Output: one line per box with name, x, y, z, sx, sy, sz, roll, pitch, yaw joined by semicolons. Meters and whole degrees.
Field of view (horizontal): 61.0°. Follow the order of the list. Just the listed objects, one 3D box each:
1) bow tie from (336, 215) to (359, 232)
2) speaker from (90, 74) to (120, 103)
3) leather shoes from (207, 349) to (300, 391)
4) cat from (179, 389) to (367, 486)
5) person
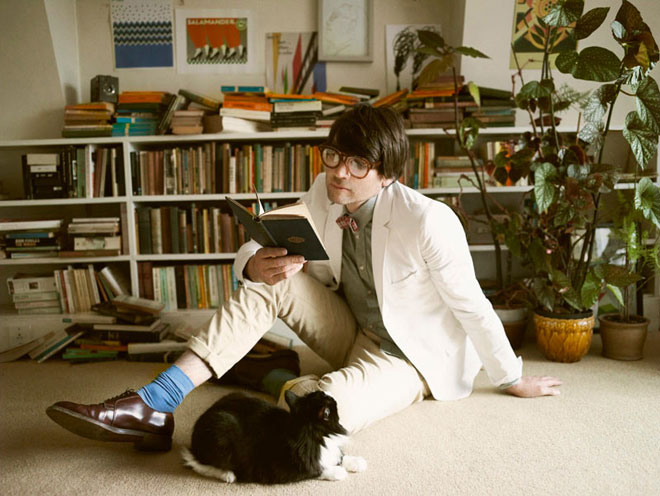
bow tie;0.073;-0.108;2.449;0.093;0.068;0.044;8;9;37
speaker;-1.430;-0.989;3.611;0.189;0.192;0.195;1;0;-32
leather shoes;-0.351;0.584;2.828;0.231;0.117;0.274;6;13;35
cat;-0.240;0.692;2.173;0.593;0.283;0.362;1;-6;1
person;-0.061;0.026;2.568;2.120;1.383;1.159;-9;23;-38
